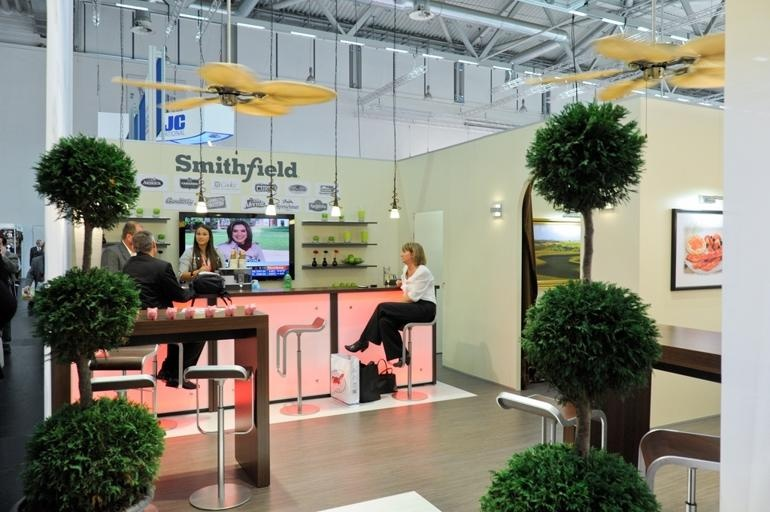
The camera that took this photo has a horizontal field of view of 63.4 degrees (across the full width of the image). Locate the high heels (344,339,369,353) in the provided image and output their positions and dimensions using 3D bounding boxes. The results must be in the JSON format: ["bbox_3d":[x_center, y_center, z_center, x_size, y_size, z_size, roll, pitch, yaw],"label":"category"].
[{"bbox_3d":[-0.387,1.127,7.785,0.365,0.174,0.129,5,5,-11],"label":"high heels"}]

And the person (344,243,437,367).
[{"bbox_3d":[0.139,0.647,7.877,1.011,1.565,0.572,-4,9,-33],"label":"person"}]

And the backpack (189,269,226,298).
[{"bbox_3d":[-1.875,0.281,6.592,0.290,0.211,0.298,-1,1,-18],"label":"backpack"}]

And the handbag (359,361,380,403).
[{"bbox_3d":[-0.183,1.555,7.712,0.281,0.479,0.212,-1,7,-8],"label":"handbag"}]

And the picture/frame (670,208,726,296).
[{"bbox_3d":[3.371,-0.060,6.781,1.035,0.722,0.071,0,-1,-27],"label":"picture/frame"}]

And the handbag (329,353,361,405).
[{"bbox_3d":[-0.489,1.521,7.669,0.187,0.564,0.548,-4,6,-30],"label":"handbag"}]

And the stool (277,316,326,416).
[{"bbox_3d":[-1.012,1.262,7.452,0.557,1.120,0.757,-1,7,-10],"label":"stool"}]

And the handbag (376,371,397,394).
[{"bbox_3d":[0.013,1.600,7.868,0.342,0.288,0.113,0,2,-38],"label":"handbag"}]

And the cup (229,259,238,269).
[{"bbox_3d":[-2.083,0.101,8.583,0.120,0.115,0.122,-8,-4,-1],"label":"cup"}]

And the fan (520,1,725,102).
[{"bbox_3d":[1.795,-1.511,5.048,1.610,0.626,1.750,4,4,34],"label":"fan"}]

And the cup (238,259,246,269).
[{"bbox_3d":[-1.967,0.107,8.583,0.112,0.158,0.113,-1,-4,0],"label":"cup"}]

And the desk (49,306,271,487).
[{"bbox_3d":[-1.794,1.131,5.029,1.751,1.582,0.718,0,-2,-29],"label":"desk"}]

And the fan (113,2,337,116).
[{"bbox_3d":[-1.261,-1.484,5.621,1.405,0.576,1.528,0,0,-25],"label":"fan"}]
